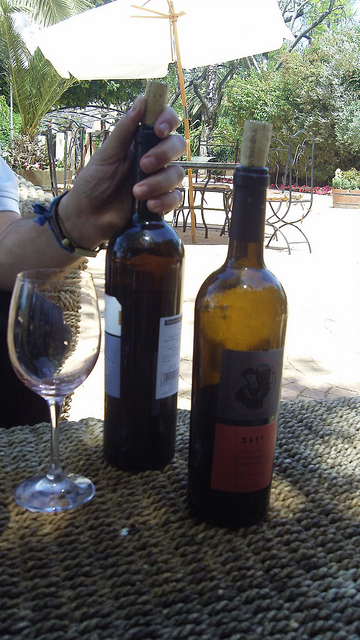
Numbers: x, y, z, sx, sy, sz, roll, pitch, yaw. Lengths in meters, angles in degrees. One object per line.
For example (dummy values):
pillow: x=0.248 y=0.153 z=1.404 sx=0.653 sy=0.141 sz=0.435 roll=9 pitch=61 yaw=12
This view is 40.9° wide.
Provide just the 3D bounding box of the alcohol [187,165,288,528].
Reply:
alcohol: x=0.041 y=0.030 z=0.449 sx=0.086 sy=0.326 sz=0.085 roll=-6 pitch=16 yaw=-29

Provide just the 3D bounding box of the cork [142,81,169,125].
cork: x=-0.020 y=-0.209 z=0.487 sx=0.020 sy=0.025 sz=0.089 roll=-11 pitch=44 yaw=19

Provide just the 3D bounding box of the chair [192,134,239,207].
chair: x=0.980 y=-3.584 z=11.430 sx=1.025 sy=2.069 sz=1.158 roll=0 pitch=1 yaw=3

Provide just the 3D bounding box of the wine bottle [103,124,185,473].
wine bottle: x=-0.038 y=0.017 z=0.530 sx=0.095 sy=0.294 sz=0.075 roll=-2 pitch=12 yaw=-12
